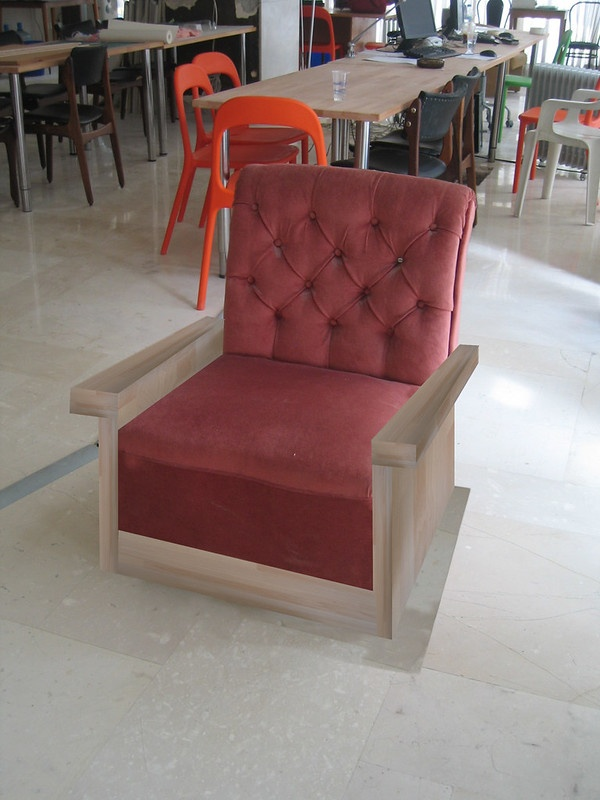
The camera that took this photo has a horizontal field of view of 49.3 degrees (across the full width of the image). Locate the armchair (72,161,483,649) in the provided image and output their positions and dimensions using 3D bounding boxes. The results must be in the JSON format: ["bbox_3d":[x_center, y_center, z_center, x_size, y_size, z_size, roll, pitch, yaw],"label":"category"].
[{"bbox_3d":[-0.113,-0.096,1.655,0.946,0.955,1.042,11,24,18],"label":"armchair"}]
